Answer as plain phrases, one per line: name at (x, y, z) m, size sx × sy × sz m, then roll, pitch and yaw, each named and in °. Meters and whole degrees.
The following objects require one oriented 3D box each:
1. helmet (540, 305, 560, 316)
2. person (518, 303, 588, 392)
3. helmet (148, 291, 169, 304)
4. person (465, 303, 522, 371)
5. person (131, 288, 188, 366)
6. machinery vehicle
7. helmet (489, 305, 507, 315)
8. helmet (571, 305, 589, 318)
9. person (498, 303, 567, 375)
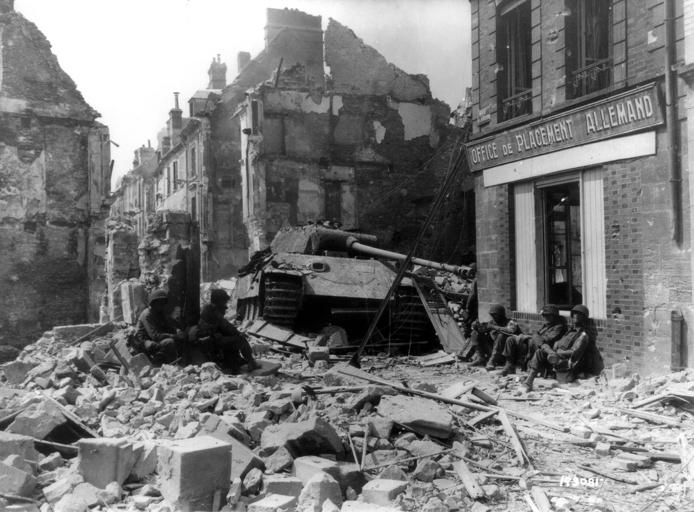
helmet at (3.956, 1.046, 14.855) m, size 0.290 × 0.123 × 0.208 m, roll 18°, pitch -18°, yaw -42°
person at (3.985, 1.650, 14.423) m, size 1.532 × 1.452 × 0.580 m, roll 1°, pitch -2°, yaw -18°
helmet at (-3.811, 0.837, 15.409) m, size 0.337 × 0.194 × 0.232 m, roll -10°, pitch -5°, yaw 32°
person at (3.151, 1.658, 16.213) m, size 1.108 × 1.279 × 0.985 m, roll 0°, pitch 0°, yaw -16°
person at (-3.681, 1.393, 15.143) m, size 0.954 × 1.425 × 0.767 m, roll 1°, pitch -2°, yaw -18°
machinery vehicle at (-0.003, 0.637, 19.384) m, size 3.150 × 1.938 × 4.963 m, roll 3°, pitch -3°, yaw -23°
helmet at (3.115, 1.109, 16.004) m, size 0.266 × 0.140 × 0.190 m, roll 11°, pitch -5°, yaw -26°
helmet at (4.407, 1.050, 14.523) m, size 0.286 × 0.226 × 0.219 m, roll 33°, pitch -8°, yaw -15°
person at (3.738, 1.667, 15.197) m, size 1.060 × 1.423 × 0.854 m, roll 11°, pitch -3°, yaw -29°
